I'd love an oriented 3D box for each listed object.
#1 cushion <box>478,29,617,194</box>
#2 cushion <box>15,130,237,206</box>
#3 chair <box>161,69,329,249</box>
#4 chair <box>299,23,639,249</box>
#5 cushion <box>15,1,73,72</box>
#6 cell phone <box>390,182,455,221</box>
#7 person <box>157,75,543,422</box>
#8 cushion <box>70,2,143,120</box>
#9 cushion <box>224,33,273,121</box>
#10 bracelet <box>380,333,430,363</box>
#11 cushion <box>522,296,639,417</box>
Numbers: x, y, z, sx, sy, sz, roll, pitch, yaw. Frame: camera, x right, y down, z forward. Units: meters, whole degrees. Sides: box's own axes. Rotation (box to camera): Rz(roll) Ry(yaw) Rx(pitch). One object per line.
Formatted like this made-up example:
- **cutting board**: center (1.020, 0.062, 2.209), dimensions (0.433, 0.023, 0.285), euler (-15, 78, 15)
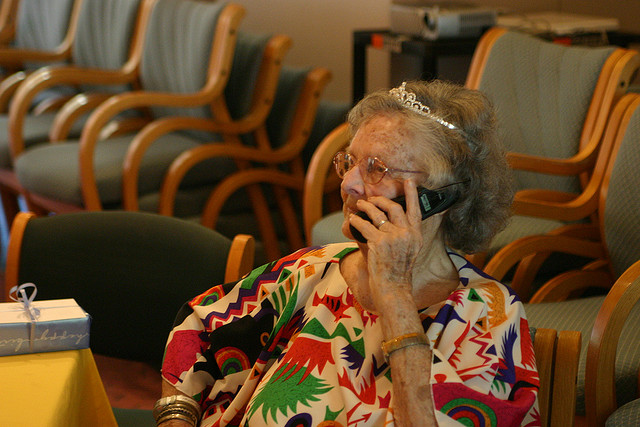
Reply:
- **cushion**: center (1.034, -0.437, 2.772), dimensions (0.539, 0.866, 0.532), euler (-9, 20, -35)
- **cushion**: center (-1.035, -0.237, 3.185), dimensions (1.168, 0.341, 0.468), euler (5, 18, 2)
- **chair**: center (-0.550, -0.410, 3.671), dimensions (0.874, 1.419, 0.742), euler (0, 9, -29)
- **chair**: center (0.543, -0.345, 3.178), dimensions (1.266, 1.686, 1.003), euler (-4, 20, -20)
- **cushion**: center (-1.840, -1.248, 4.123), dimensions (0.653, 0.325, 0.141), euler (19, 24, 39)
- **cell phone**: center (0.323, -0.041, 1.754), dimensions (0.137, 0.090, 0.053), euler (-12, 22, -39)
- **person**: center (0.091, 0.091, 2.062), dimensions (0.677, 1.229, 1.056), euler (13, 2, -35)
- **cushion**: center (-1.282, -1.060, 3.692), dimensions (0.616, 0.396, 0.119), euler (19, 23, 38)
- **cushion**: center (-0.388, -0.692, 3.126), dimensions (0.319, 0.397, 0.131), euler (5, 15, -5)
- **bracelet**: center (0.215, 0.322, 1.580), dimensions (0.079, 0.051, 0.084), euler (-10, -7, -13)
- **cushion**: center (0.951, 0.404, 2.249), dimensions (0.372, 0.586, 0.436), euler (1, 1, 40)
